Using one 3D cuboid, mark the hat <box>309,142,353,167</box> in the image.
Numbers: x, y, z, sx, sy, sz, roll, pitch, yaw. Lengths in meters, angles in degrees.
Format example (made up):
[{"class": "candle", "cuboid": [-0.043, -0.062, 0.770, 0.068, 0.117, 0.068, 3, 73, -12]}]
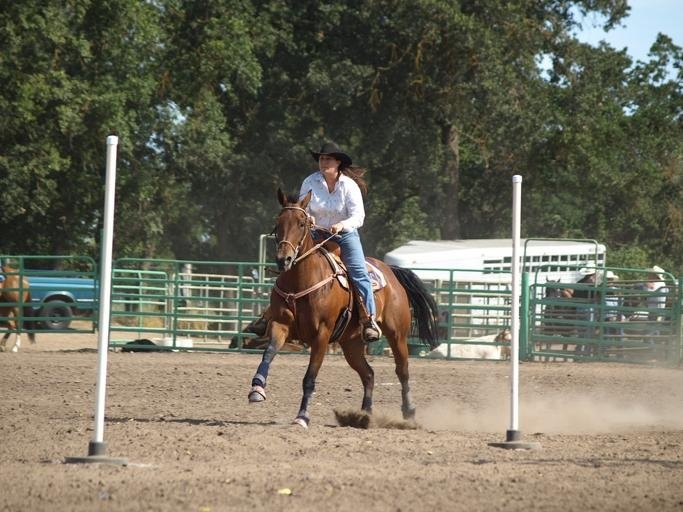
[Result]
[{"class": "hat", "cuboid": [-0.263, -2.682, 36.877, 0.998, 0.636, 0.445, 1, -4, -4]}]
